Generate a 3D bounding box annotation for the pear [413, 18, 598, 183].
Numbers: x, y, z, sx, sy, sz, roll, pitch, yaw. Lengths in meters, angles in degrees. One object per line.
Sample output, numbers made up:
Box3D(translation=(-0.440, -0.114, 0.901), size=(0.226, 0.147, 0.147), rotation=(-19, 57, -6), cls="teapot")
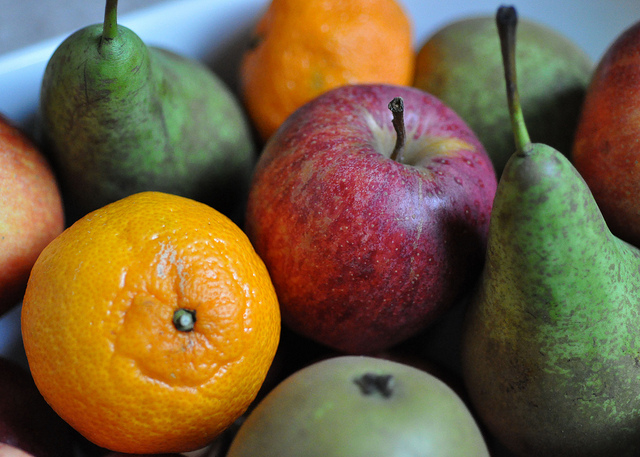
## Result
Box3D(translation=(0.235, -0.199, 1.080), size=(0.267, 0.162, 0.214), rotation=(39, 49, 17), cls="pear")
